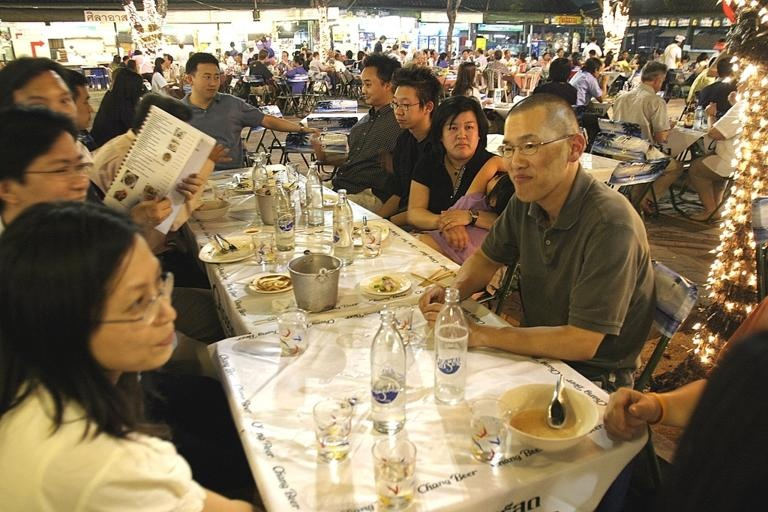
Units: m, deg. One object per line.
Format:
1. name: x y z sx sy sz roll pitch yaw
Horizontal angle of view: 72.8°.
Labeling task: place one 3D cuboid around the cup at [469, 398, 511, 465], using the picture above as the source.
1. cup: 0.325 0.532 1.588 0.134 0.126 0.159 6 18 12

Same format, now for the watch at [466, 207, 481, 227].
1. watch: 0.551 -0.240 3.184 0.071 0.086 0.100 3 11 -5

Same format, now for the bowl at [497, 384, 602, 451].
1. bowl: 0.527 0.504 1.740 0.212 0.197 0.072 -4 43 -2

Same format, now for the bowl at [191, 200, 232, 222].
1. bowl: -1.101 -0.274 3.312 0.172 0.052 0.162 1 30 -1

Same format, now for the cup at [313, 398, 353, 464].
1. cup: -0.153 0.525 1.570 0.126 0.136 0.152 8 23 13

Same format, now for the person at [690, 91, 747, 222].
1. person: 3.634 -1.113 5.732 0.404 1.374 1.173 13 20 28

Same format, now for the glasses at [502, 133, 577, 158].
1. glasses: 0.641 -0.456 2.176 0.291 0.116 0.122 7 18 13

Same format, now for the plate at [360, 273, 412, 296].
1. plate: 0.008 0.128 2.394 0.235 0.061 0.216 1 17 -4

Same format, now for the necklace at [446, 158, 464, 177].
1. necklace: 0.483 -0.598 3.508 0.103 0.126 0.100 -3 20 5

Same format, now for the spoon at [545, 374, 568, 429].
1. spoon: 0.542 0.466 1.653 0.052 0.024 0.159 3 43 18

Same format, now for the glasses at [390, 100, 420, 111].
1. glasses: 0.156 -1.103 3.825 0.152 0.042 0.142 -12 22 -34

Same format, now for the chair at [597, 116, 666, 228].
1. chair: 2.163 -0.578 4.502 0.482 0.498 0.456 -9 -12 37

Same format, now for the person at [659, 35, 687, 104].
1. person: 8.306 -5.422 14.981 0.549 1.682 0.676 -7 23 -11

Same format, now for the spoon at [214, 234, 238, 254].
1. spoon: -0.865 -0.070 2.842 0.069 0.036 0.218 -17 42 -29
